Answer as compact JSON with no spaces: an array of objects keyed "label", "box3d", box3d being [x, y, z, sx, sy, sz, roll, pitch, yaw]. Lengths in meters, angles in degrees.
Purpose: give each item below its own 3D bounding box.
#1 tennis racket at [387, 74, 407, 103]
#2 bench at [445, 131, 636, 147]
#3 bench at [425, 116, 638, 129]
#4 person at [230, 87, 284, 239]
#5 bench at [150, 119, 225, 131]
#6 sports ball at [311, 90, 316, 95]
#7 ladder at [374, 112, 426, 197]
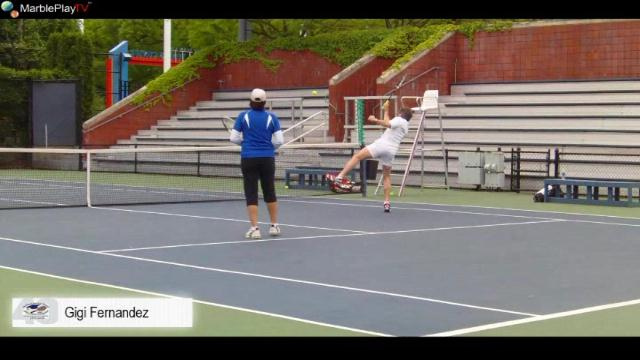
[{"label":"tennis racket","box3d":[2.892,-3.478,22.664,1.220,0.169,0.089,-44,20,-29]},{"label":"bench","box3d":[7.000,-1.310,19.788,5.525,0.499,0.645,5,12,27]},{"label":"bench","box3d":[7.208,-1.901,20.372,5.674,0.717,0.551,2,0,28]},{"label":"person","box3d":[-1.163,-0.307,11.705,0.906,2.758,1.136,-1,12,-3]},{"label":"bench","box3d":[-5.886,-2.466,27.653,4.321,0.538,0.790,7,13,35]},{"label":"sports ball","box3d":[-0.256,-3.684,26.174,0.193,0.104,0.217,0,4,7]},{"label":"ladder","box3d":[2.771,-0.784,18.044,0.869,2.460,0.673,33,11,3]}]
